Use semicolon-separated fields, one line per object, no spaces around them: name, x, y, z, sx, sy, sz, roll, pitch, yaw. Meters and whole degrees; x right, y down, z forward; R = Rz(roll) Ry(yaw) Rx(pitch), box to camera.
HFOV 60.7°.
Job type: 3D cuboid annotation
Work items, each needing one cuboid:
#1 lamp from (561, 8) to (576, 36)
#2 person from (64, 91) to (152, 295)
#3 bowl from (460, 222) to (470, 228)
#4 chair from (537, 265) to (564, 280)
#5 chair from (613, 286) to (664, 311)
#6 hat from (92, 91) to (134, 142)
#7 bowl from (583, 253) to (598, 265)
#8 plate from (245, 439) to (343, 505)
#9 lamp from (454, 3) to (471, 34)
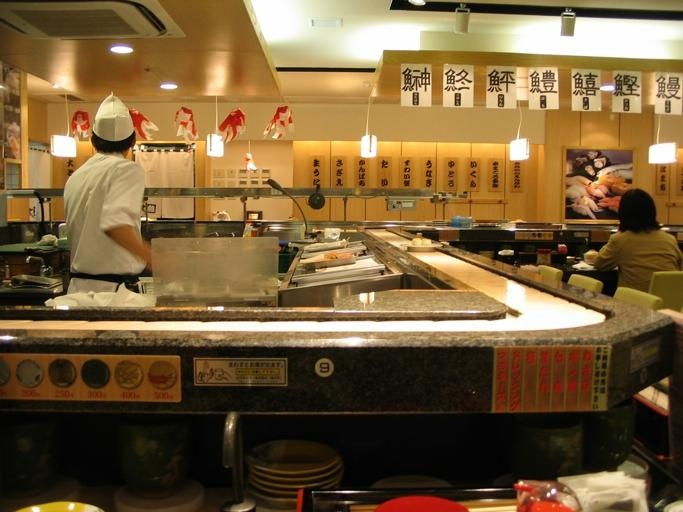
lamp;2.106;-2.167;5.415;0.104;0.231;0.194;2;8;17
person;-1.109;-0.266;2.724;0.360;0.840;0.588;-4;8;-22
bowl;1.440;-0.369;6.794;0.087;0.056;0.209;-3;7;-22
chair;1.359;0.108;3.787;0.123;0.129;0.107;-4;14;-16
chair;1.456;0.205;2.829;0.208;0.103;0.111;11;8;-5
hat;-1.150;-0.714;2.929;0.210;0.165;0.277;-3;41;-17
bowl;2.222;0.018;5.203;0.153;0.105;0.140;-1;-2;0
plate;-0.130;0.604;1.625;0.269;0.143;0.145;-1;7;-9
lamp;1.139;-2.259;5.475;0.121;0.339;0.532;1;7;11
